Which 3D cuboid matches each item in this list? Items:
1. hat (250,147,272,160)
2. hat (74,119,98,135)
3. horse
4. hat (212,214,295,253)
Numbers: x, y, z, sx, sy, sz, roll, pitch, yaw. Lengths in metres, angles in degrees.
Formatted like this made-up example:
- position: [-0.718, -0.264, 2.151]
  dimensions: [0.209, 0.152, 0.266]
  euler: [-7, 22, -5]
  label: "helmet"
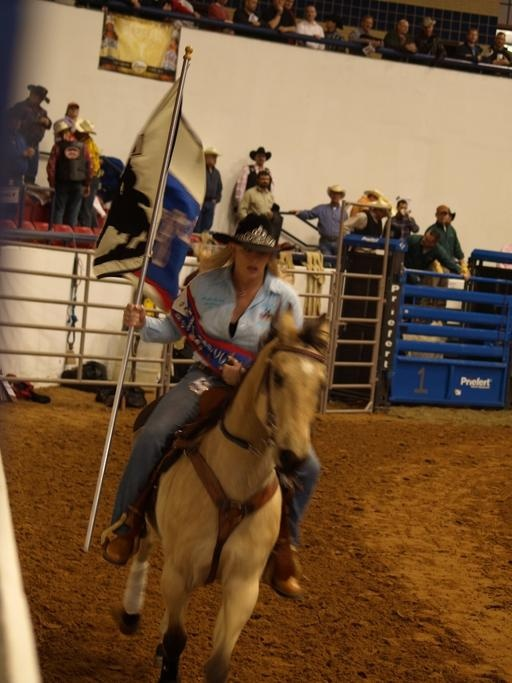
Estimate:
- position: [0.079, -4.659, 14.483]
  dimensions: [0.459, 0.201, 0.519]
  euler: [5, -29, -4]
  label: "hat"
- position: [-3.366, -4.182, 11.193]
  dimensions: [0.451, 0.115, 0.388]
  euler: [26, 27, -13]
  label: "hat"
- position: [-0.190, 0.862, 2.616]
  dimensions: [0.445, 2.109, 1.149]
  euler: [4, 11, -29]
  label: "horse"
- position: [-0.047, -0.580, 3.003]
  dimensions: [0.362, 0.199, 0.423]
  euler: [8, 9, -6]
  label: "hat"
